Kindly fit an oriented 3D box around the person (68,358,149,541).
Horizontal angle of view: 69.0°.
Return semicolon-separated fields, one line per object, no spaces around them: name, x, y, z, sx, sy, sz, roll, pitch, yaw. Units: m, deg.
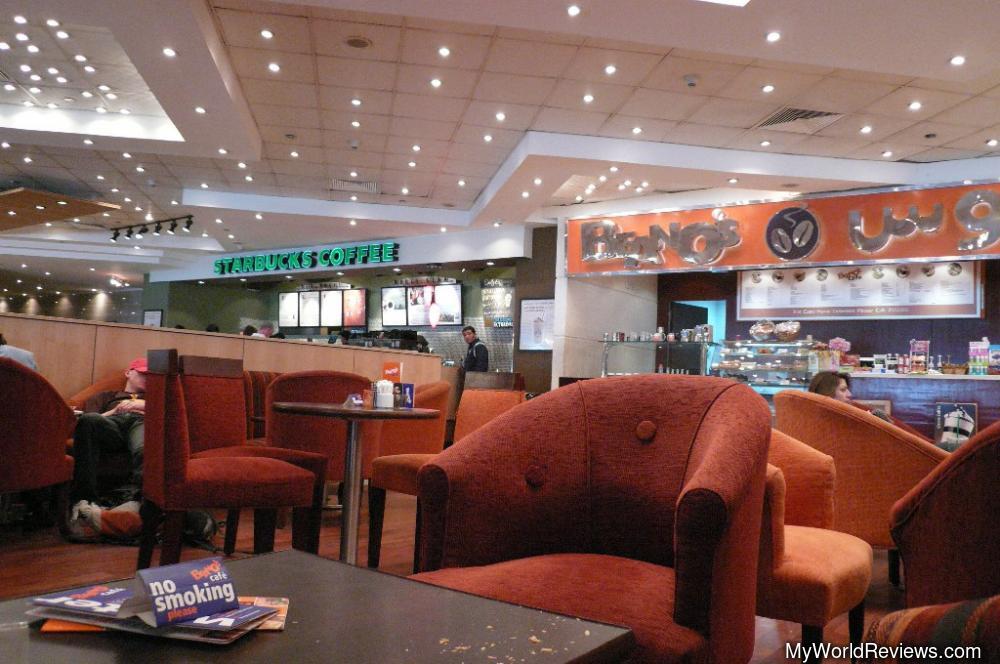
person;-2.833;0.742;5.545;0.534;1.340;0.450;6;-48;-29
